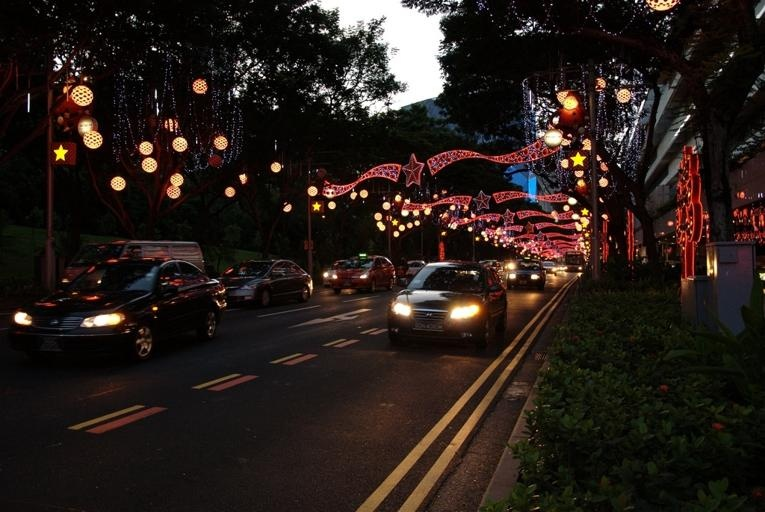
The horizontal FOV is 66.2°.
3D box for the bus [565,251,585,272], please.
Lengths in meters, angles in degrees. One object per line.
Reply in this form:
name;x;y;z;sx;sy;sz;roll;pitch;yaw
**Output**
bus;34.542;1.237;106.029;3.111;4.113;8.673;-1;-4;21
